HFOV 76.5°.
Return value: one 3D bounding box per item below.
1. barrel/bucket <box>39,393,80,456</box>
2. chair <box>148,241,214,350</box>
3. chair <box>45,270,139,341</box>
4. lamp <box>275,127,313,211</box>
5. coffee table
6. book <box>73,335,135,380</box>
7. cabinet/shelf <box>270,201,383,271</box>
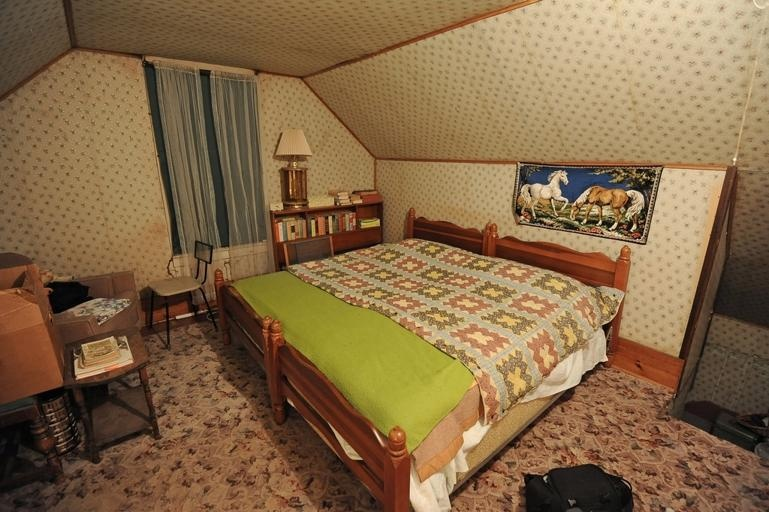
[{"bbox_3d":[-3.173,1.639,4.670,0.329,0.553,0.343,-4,14,1],"label":"barrel/bucket"},{"bbox_3d":[-2.534,0.425,6.251,0.968,1.093,0.768,-11,20,-33],"label":"chair"},{"bbox_3d":[-3.126,0.599,5.427,0.809,0.625,0.779,-6,17,-11],"label":"chair"},{"bbox_3d":[-1.290,-1.258,6.983,0.551,1.086,0.511,-5,18,-14],"label":"lamp"},{"bbox_3d":[-2.510,1.497,4.896,0.980,0.688,0.598,-19,-9,9],"label":"coffee table"},{"bbox_3d":[-2.677,0.950,4.636,0.496,0.203,0.468,-9,18,-29],"label":"book"},{"bbox_3d":[-0.740,-0.304,7.364,1.654,0.808,0.376,-10,-2,8],"label":"cabinet/shelf"}]
